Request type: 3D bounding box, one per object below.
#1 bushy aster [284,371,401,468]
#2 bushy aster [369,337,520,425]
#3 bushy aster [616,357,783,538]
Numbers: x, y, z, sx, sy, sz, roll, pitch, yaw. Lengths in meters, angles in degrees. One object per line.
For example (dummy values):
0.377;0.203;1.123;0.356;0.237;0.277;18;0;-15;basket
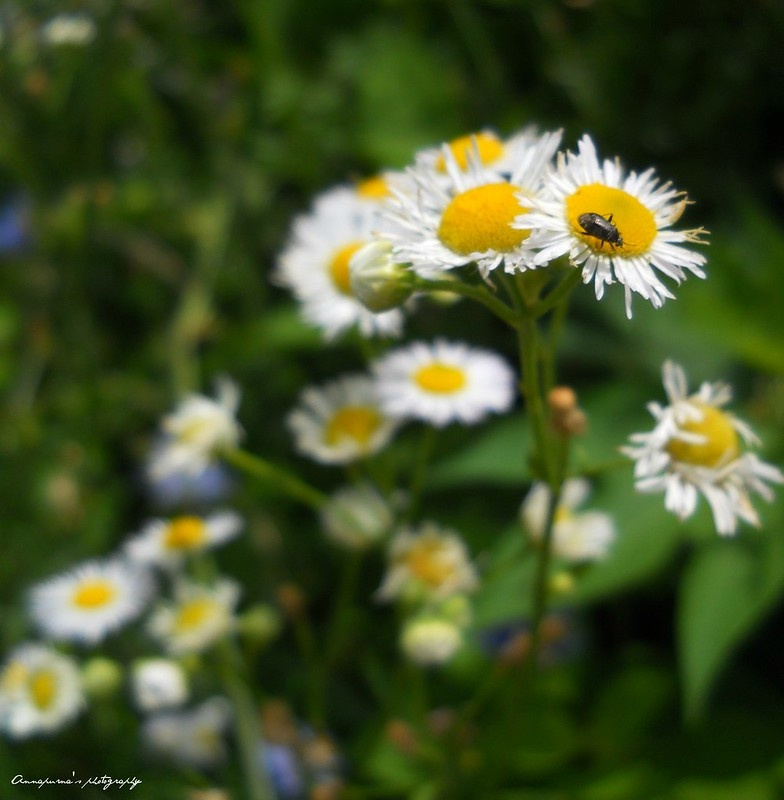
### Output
-0.060;0.021;1.049;0.095;0.075;0.114;-26;54;-21;bushy aster
0.057;-0.010;1.057;0.153;0.086;0.140;-5;49;-5;bushy aster
0.265;0.048;0.820;0.152;0.060;0.165;5;69;-35;bushy aster
